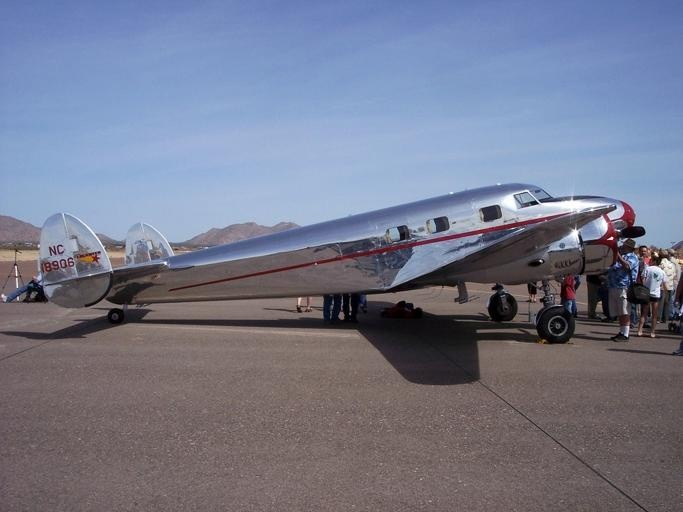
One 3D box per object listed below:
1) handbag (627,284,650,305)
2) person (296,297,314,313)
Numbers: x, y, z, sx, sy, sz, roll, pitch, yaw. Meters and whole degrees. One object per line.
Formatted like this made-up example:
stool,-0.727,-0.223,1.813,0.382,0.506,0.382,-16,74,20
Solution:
handbag,7.300,0.996,12.116,0.622,0.435,0.328,19,-21,-24
person,-1.390,1.904,18.223,0.733,0.350,0.984,4,8,-9
